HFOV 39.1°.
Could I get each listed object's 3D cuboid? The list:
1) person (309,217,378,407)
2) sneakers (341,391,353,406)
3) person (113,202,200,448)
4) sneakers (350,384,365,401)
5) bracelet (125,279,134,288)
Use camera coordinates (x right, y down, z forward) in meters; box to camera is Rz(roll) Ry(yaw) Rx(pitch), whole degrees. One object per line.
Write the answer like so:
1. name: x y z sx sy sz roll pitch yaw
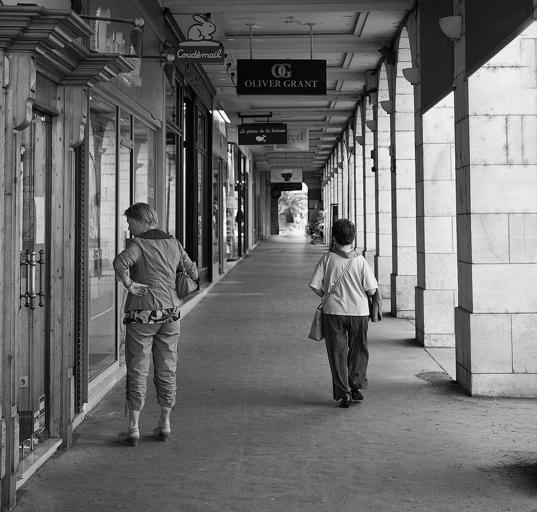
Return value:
1. person: 0.701 0.507 6.901 0.636 1.693 0.313 1 2 10
2. sneakers: 0.707 1.294 6.838 0.129 0.130 0.062 -2 4 -43
3. person: -0.893 0.512 5.813 0.643 1.838 0.347 -1 3 -24
4. sneakers: 0.831 1.255 7.067 0.063 0.158 0.204 1 3 16
5. bracelet: -1.036 0.209 5.590 0.040 0.076 0.106 1 3 7
